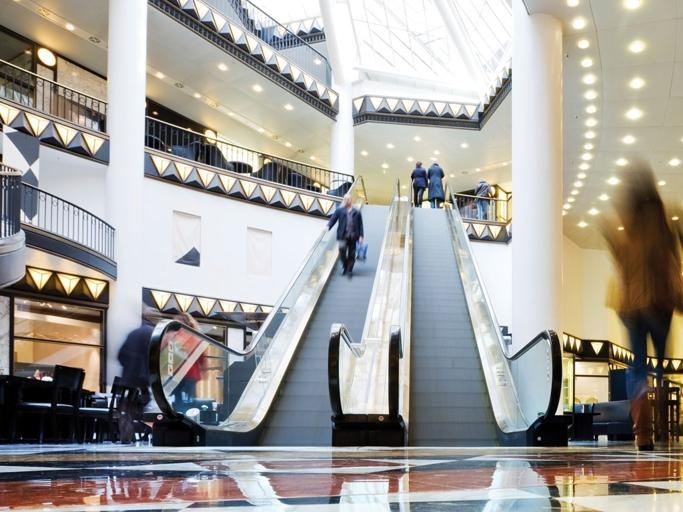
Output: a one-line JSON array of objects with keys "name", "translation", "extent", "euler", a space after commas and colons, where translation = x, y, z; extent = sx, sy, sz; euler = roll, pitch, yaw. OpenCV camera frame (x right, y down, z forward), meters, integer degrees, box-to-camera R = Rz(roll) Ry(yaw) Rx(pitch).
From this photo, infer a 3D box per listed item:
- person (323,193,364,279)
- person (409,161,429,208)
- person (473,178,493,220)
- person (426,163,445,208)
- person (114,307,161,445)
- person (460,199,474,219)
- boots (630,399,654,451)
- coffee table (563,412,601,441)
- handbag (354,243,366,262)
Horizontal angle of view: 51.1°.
[{"name": "person", "translation": [0.066, -0.406, 13.841], "extent": [0.658, 1.657, 0.683], "euler": [2, -10, -2]}, {"name": "person", "translation": [2.318, -2.147, 21.104], "extent": [0.477, 1.660, 1.286], "euler": [0, -10, 6]}, {"name": "person", "translation": [4.643, -1.895, 23.370], "extent": [0.428, 1.584, 1.274], "euler": [-1, -10, 11]}, {"name": "person", "translation": [2.852, -2.115, 21.560], "extent": [0.539, 1.690, 0.522], "euler": [0, -28, 10]}, {"name": "person", "translation": [-3.423, 2.013, 11.774], "extent": [0.858, 0.751, 2.509], "euler": [-5, 28, -8]}, {"name": "person", "translation": [4.117, -1.460, 23.040], "extent": [0.450, 0.785, 1.320], "euler": [0, -11, 10]}, {"name": "boots", "translation": [3.908, 2.154, 9.253], "extent": [0.241, 0.658, 0.696], "euler": [-3, -11, 21]}, {"name": "coffee table", "translation": [4.481, 3.156, 13.296], "extent": [0.401, 0.503, 0.723], "euler": [-3, -11, 24]}, {"name": "handbag", "translation": [0.397, -0.104, 14.107], "extent": [0.265, 0.314, 0.503], "euler": [2, 7, 5]}]
